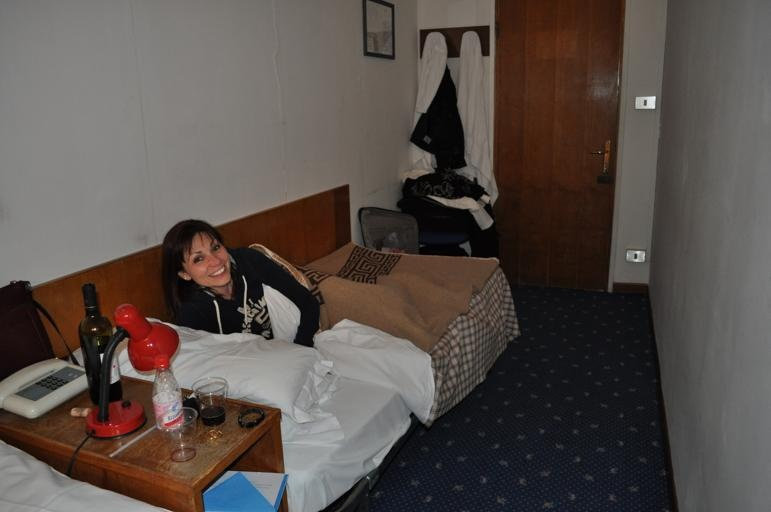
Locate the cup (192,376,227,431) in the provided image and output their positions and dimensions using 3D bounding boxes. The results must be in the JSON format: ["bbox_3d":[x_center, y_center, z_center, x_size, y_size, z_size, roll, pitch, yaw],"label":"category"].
[{"bbox_3d":[-0.652,0.569,1.982,0.140,0.167,0.140,-7,-14,-2],"label":"cup"}]

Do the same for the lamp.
[{"bbox_3d":[-0.910,0.386,1.901,0.187,0.474,0.328,23,29,24],"label":"lamp"}]

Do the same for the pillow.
[{"bbox_3d":[-0.626,0.466,2.258,0.740,0.208,0.467,21,23,-3],"label":"pillow"}]
